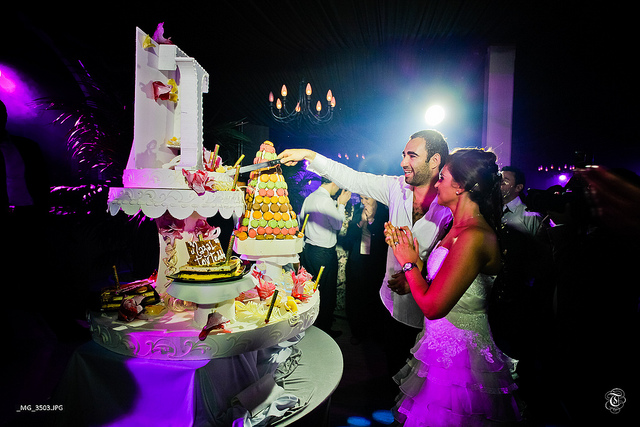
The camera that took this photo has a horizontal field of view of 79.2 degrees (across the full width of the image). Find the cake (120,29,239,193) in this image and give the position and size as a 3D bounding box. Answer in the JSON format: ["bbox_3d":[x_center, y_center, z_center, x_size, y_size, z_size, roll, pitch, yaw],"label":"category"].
[{"bbox_3d":[-1.383,-1.083,4.081,0.958,1.197,1.052,-2,4,14],"label":"cake"}]

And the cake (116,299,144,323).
[{"bbox_3d":[-1.747,0.877,3.555,0.201,0.189,0.173,13,-8,25],"label":"cake"}]

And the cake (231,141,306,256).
[{"bbox_3d":[-0.574,-0.206,4.338,0.768,1.174,0.848,1,6,-20],"label":"cake"}]

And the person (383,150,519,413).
[{"bbox_3d":[1.284,0.652,3.570,1.166,2.453,0.561,4,10,11],"label":"person"}]

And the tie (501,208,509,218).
[{"bbox_3d":[2.090,-0.011,4.335,0.095,0.024,0.103,-45,-2,29],"label":"tie"}]

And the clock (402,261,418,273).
[{"bbox_3d":[0.826,0.466,3.527,0.105,0.076,0.114,5,-2,5],"label":"clock"}]

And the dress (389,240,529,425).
[{"bbox_3d":[1.338,1.159,3.856,0.872,2.061,0.873,2,5,0],"label":"dress"}]

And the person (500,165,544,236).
[{"bbox_3d":[2.534,-0.139,4.835,0.439,1.128,0.729,-11,2,26],"label":"person"}]

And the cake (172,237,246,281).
[{"bbox_3d":[-1.030,0.422,3.604,0.654,0.332,0.314,-1,11,-15],"label":"cake"}]
